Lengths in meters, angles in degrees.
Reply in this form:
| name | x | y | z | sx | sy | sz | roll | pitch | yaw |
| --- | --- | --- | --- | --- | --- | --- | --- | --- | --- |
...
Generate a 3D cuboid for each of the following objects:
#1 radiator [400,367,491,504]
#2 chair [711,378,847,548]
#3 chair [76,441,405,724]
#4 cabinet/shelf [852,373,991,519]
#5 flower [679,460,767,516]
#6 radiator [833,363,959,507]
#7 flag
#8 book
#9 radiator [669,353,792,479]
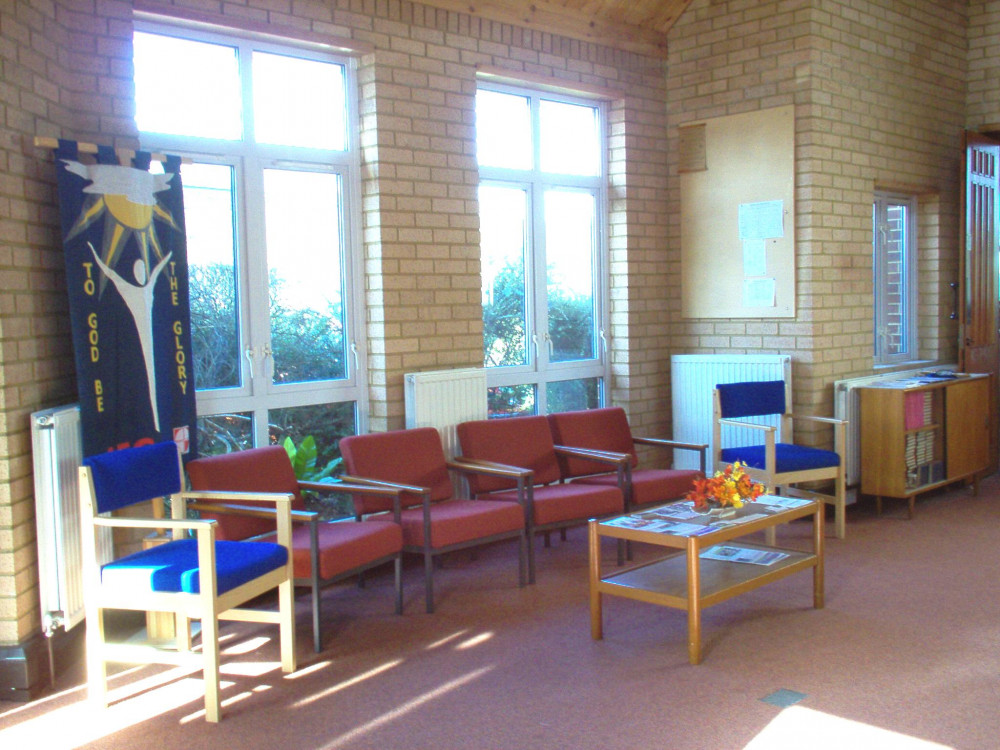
| name | x | y | z | sx | sy | sz | roll | pitch | yaw |
| --- | --- | --- | --- | --- | --- | --- | --- | --- | --- |
| radiator | -0.414 | 0.456 | 5.846 | 0.133 | 1.217 | 1.018 | -1 | 1 | 42 |
| chair | 2.170 | 0.648 | 6.421 | 0.858 | 1.127 | 0.727 | -3 | 6 | -30 |
| chair | -1.597 | 0.973 | 4.169 | 0.971 | 1.183 | 0.858 | 1 | 7 | 24 |
| cabinet/shelf | 3.593 | 0.618 | 7.083 | 1.215 | 0.738 | 0.304 | -6 | 7 | -41 |
| flower | 1.444 | 0.674 | 4.786 | 0.465 | 0.229 | 0.492 | -8 | 2 | -25 |
| radiator | 3.347 | 0.485 | 7.236 | 0.453 | 0.963 | 1.412 | 5 | 9 | 44 |
| flag | -2.111 | -0.387 | 4.711 | 0.181 | 1.812 | 0.852 | 2 | 8 | 29 |
| book | 3.698 | 0.471 | 7.122 | 1.139 | 0.627 | 0.333 | -5 | 7 | -41 |
| radiator | 1.927 | 0.331 | 6.714 | 0.108 | 1.034 | 1.056 | 1 | -1 | -43 |
